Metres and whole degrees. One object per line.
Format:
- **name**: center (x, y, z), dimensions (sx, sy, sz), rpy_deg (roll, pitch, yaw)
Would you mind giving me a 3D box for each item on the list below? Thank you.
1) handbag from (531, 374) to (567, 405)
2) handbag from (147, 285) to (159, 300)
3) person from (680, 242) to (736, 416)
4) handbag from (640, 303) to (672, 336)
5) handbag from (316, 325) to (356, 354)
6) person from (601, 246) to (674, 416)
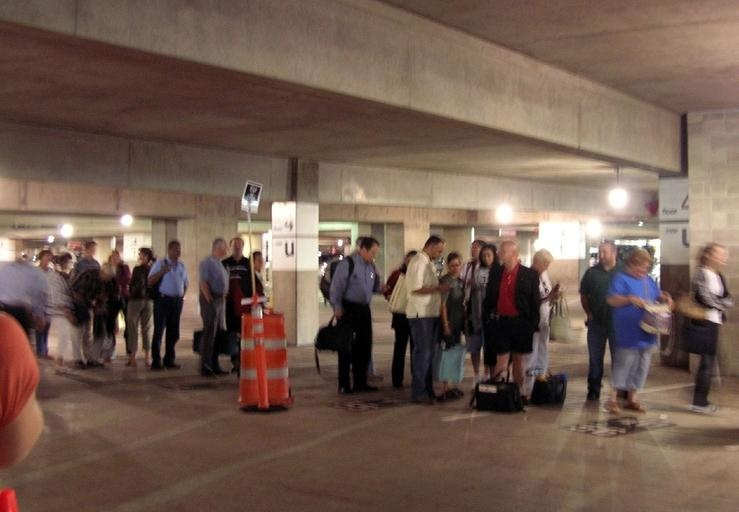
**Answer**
- **handbag**: center (2.737, 1.926, 8.762), dimensions (0.488, 0.486, 0.400), rpy_deg (12, -8, -22)
- **handbag**: center (-4.123, 0.677, 11.220), dimensions (0.232, 0.442, 0.251), rpy_deg (0, 1, -27)
- **person**: center (4.688, 0.989, 8.214), dimensions (0.683, 2.352, 0.416), rpy_deg (1, 1, -18)
- **handbag**: center (3.752, 0.814, 7.619), dimensions (0.360, 0.395, 0.359), rpy_deg (5, 0, -41)
- **handbag**: center (-0.491, 1.250, 8.872), dimensions (0.436, 0.406, 0.176), rpy_deg (1, -8, 28)
- **person**: center (3.602, 1.029, 7.878), dimensions (0.753, 2.279, 0.748), rpy_deg (2, 2, 27)
